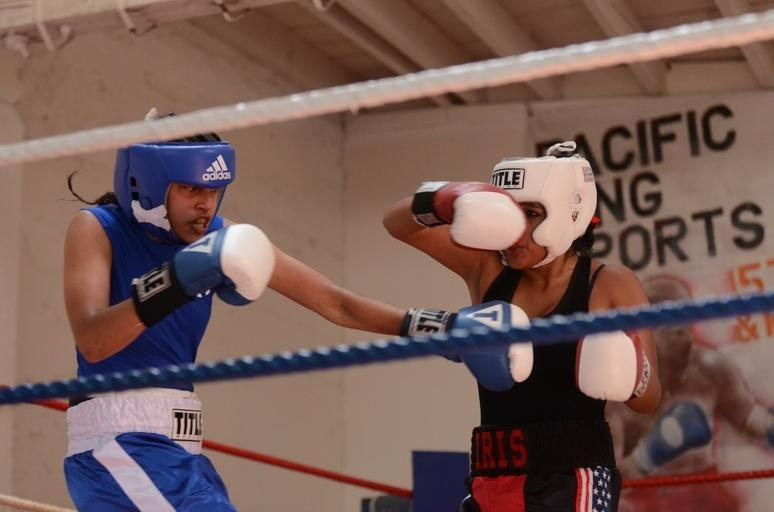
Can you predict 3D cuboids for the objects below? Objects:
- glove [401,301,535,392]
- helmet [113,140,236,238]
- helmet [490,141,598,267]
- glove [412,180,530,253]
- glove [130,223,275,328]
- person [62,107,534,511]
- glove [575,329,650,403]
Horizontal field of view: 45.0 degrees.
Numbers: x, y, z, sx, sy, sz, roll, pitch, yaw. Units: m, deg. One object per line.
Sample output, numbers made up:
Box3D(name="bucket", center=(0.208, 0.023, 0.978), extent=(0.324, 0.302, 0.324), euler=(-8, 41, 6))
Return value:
Box3D(name="glove", center=(0.299, 0.272, 3.463), extent=(0.502, 0.193, 0.279), euler=(16, 47, 35))
Box3D(name="helmet", center=(-0.807, -0.245, 3.547), extent=(0.389, 0.327, 0.458), euler=(-7, 9, -42))
Box3D(name="helmet", center=(0.662, -0.227, 3.849), extent=(0.449, 0.467, 0.473), euler=(3, 9, 27))
Box3D(name="glove", center=(0.318, -0.196, 3.737), extent=(0.430, 0.209, 0.508), euler=(-1, 15, -27))
Box3D(name="glove", center=(-0.609, 0.054, 3.176), extent=(0.453, 0.181, 0.341), euler=(-21, 5, 27))
Box3D(name="person", center=(-0.628, 0.156, 3.403), extent=(1.063, 1.502, 0.565), euler=(0, -7, -2))
Box3D(name="glove", center=(0.829, 0.395, 3.407), extent=(0.247, 0.295, 0.116), euler=(-2, -10, 8))
